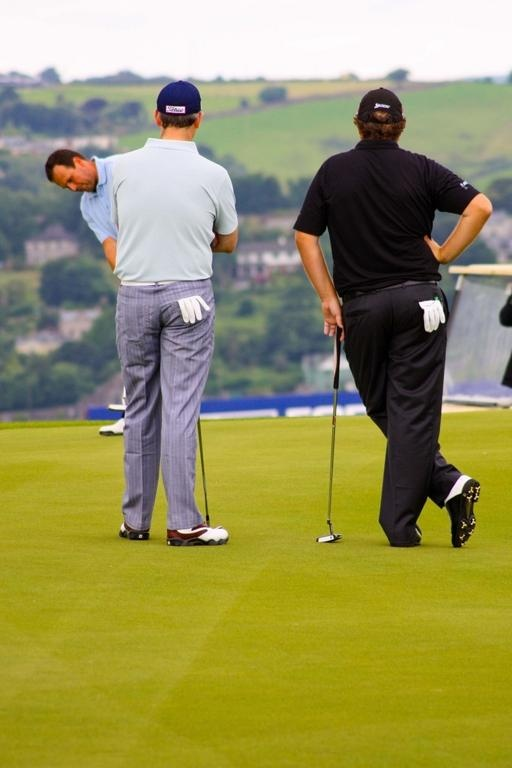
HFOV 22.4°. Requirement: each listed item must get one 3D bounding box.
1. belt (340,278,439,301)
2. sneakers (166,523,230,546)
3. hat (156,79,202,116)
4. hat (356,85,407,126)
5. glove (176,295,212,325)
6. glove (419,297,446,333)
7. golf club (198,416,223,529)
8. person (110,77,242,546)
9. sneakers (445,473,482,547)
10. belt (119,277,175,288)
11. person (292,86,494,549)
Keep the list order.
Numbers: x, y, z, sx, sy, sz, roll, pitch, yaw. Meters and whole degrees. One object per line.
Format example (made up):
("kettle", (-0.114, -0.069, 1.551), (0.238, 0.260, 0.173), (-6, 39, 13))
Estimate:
("belt", (0.397, -0.280, 3.821), (0.287, 0.076, 0.122), (1, 5, 3))
("sneakers", (-0.159, 0.417, 3.592), (0.175, 0.072, 0.061), (-1, -3, 6))
("hat", (-0.224, -0.816, 3.752), (0.100, 0.071, 0.126), (4, 36, 3))
("hat", (0.365, -0.818, 3.802), (0.104, 0.074, 0.133), (2, 23, 4))
("glove", (-0.168, -0.207, 3.657), (0.091, 0.076, 0.021), (-18, 11, -21))
("glove", (0.518, -0.201, 3.770), (0.030, 0.087, 0.097), (5, 13, 36))
("golf club", (-0.164, 0.283, 4.012), (0.060, 0.355, 0.061), (3, 18, 22))
("person", (-0.234, -0.215, 3.728), (0.365, 1.346, 0.515), (0, 5, -7))
("sneakers", (0.590, 0.356, 3.718), (0.105, 0.202, 0.075), (6, 11, 44))
("belt", (-0.321, -0.286, 3.700), (0.191, 0.018, 0.047), (4, 6, 35))
("person", (0.390, -0.204, 3.781), (0.571, 1.326, 0.439), (1, 5, 2))
